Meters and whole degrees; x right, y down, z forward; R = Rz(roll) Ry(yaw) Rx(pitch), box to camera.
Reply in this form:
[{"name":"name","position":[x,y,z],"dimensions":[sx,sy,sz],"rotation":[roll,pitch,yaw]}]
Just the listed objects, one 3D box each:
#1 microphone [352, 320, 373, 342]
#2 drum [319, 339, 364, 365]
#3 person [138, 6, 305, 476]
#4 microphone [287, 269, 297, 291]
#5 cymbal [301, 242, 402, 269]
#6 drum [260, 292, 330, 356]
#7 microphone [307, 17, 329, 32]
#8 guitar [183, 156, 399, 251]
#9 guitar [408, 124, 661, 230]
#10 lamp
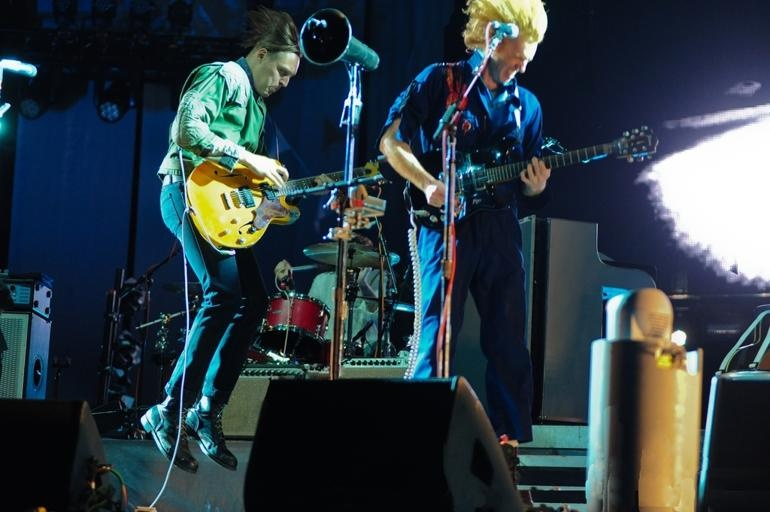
[{"name":"microphone","position":[-0.215,0.690,8.117],"dimensions":[0.118,0.229,0.304],"rotation":[-2,-11,21]},{"name":"drum","position":[-0.375,0.831,7.580],"dimensions":[0.303,0.114,0.217],"rotation":[4,2,-14]},{"name":"person","position":[-0.994,-0.104,5.832],"dimensions":[0.863,3.305,1.385],"rotation":[0,-4,31]},{"name":"microphone","position":[-0.878,0.249,8.124],"dimensions":[0.066,0.249,0.064],"rotation":[-1,4,22]},{"name":"cymbal","position":[-0.323,-0.010,7.965],"dimensions":[0.854,0.263,0.628],"rotation":[-3,4,-31]},{"name":"drum","position":[-0.765,0.493,7.345],"dimensions":[0.531,0.365,0.548],"rotation":[9,-26,5]},{"name":"microphone","position":[-0.395,-1.389,5.168],"dimensions":[0.114,0.061,0.027],"rotation":[3,-11,-4]},{"name":"guitar","position":[-0.724,-0.438,6.075],"dimensions":[1.409,0.564,0.181],"rotation":[-18,7,-36]},{"name":"guitar","position":[1.192,-0.603,6.624],"dimensions":[2.229,0.903,1.185],"rotation":[2,2,6]},{"name":"lamp","position":[-3.325,-1.708,9.195],"dimensions":[1.302,0.609,0.299],"rotation":[5,-11,-14]}]
